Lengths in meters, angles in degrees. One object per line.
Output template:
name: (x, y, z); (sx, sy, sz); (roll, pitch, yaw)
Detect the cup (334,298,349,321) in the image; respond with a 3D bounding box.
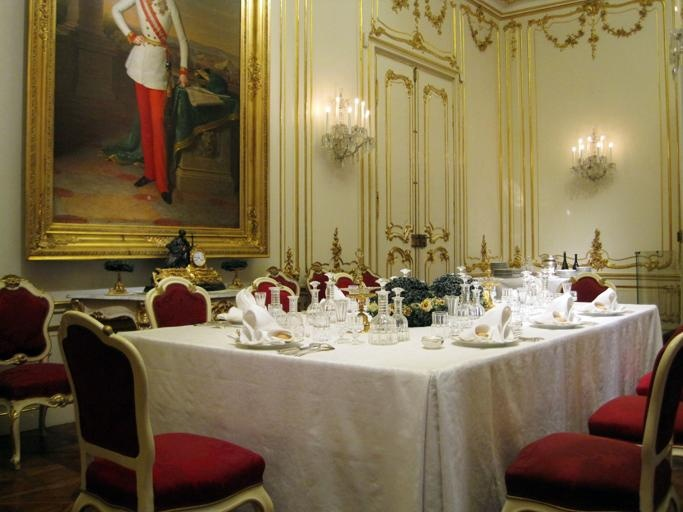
cup: (-0.001, 0.254, 2.852); (0.076, 0.119, 0.079); (1, 1, 0)

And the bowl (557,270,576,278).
bowl: (2.488, 0.188, 6.662); (0.186, 0.058, 0.184); (1, 2, 0)

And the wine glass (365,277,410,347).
wine glass: (0.224, 0.276, 2.878); (0.238, 0.353, 0.140); (-2, 5, -37)

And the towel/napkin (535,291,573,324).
towel/napkin: (1.152, 0.273, 3.212); (0.131, 0.079, 0.170); (2, 8, 44)

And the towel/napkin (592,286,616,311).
towel/napkin: (1.667, 0.273, 3.767); (0.061, 0.126, 0.175); (4, -28, -20)
